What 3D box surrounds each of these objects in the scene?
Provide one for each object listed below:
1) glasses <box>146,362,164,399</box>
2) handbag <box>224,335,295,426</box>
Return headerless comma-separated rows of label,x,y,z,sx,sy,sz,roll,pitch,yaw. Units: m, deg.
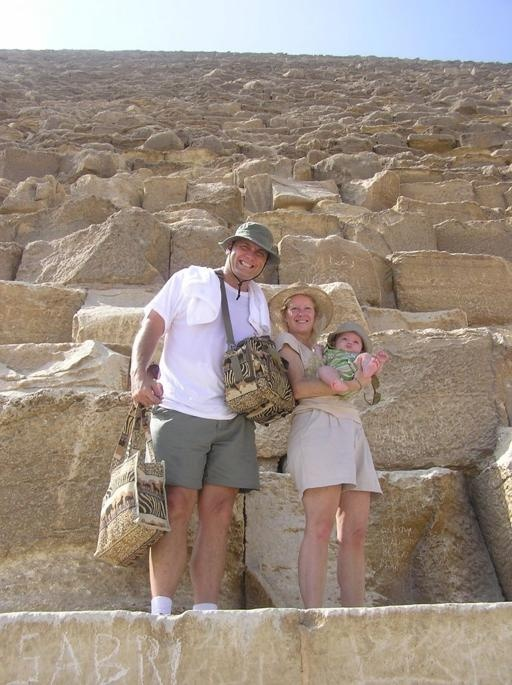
glasses,-0.279,0.108,1.726,0.046,0.083,0.054,-2,-33,-8
handbag,0.009,0.117,1.806,0.214,0.248,0.134,1,15,-13
